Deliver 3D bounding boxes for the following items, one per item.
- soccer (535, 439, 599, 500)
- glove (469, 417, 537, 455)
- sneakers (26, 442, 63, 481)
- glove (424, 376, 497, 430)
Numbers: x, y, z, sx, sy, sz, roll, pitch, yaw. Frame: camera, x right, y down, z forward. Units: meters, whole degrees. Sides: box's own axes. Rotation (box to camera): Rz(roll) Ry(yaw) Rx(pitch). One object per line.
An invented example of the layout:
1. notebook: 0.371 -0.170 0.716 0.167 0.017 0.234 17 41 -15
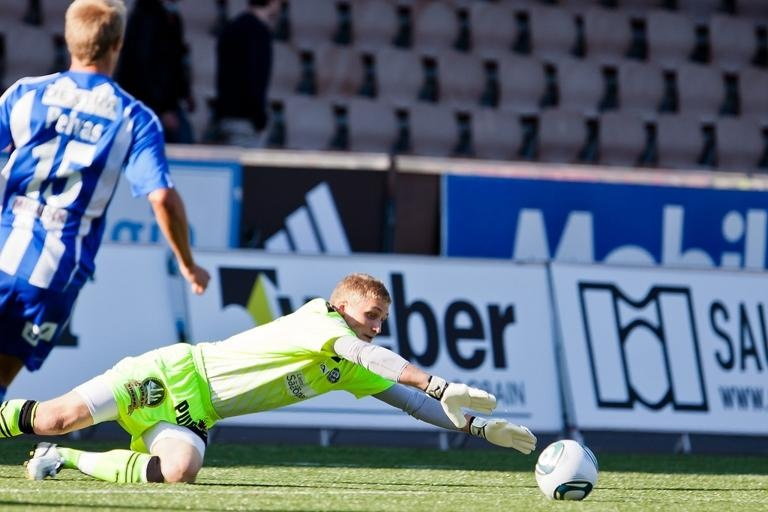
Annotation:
1. soccer: 1.243 1.443 10.044 0.439 0.472 0.446 3 10 10
2. glove: 0.873 1.286 10.652 0.422 0.312 0.160 13 23 11
3. sneakers: -2.303 1.367 10.004 0.126 0.184 0.284 -8 28 30
4. glove: 0.499 0.875 9.652 0.356 0.153 0.350 31 -42 -9
